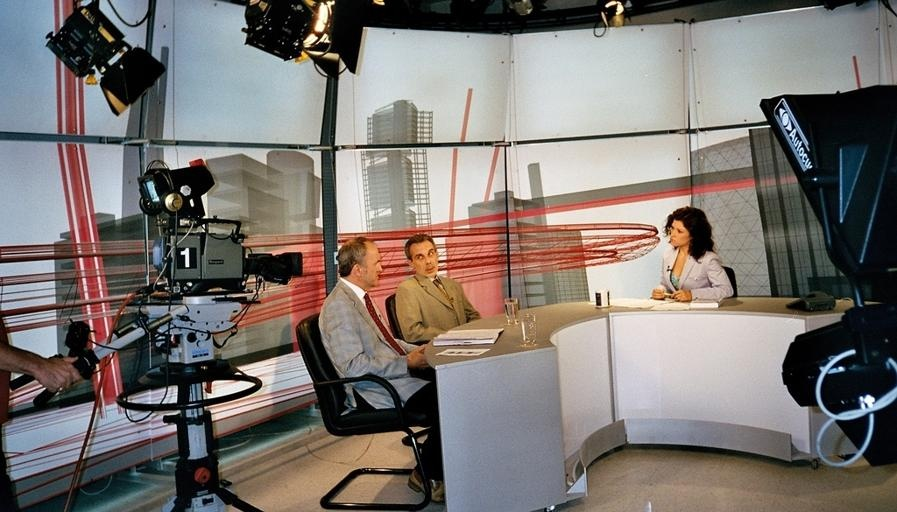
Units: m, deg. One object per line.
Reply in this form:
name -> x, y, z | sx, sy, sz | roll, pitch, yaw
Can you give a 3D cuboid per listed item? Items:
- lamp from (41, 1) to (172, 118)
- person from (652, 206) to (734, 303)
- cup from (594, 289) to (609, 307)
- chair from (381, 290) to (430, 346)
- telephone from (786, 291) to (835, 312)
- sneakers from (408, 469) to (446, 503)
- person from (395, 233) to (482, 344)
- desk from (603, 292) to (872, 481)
lamp -> -2.669, -1.486, 5.045 | 0.449, 0.574, 1.001 | 28, -13, 45
person -> 2.159, -0.022, 5.582 | 0.631, 0.795, 0.747 | -4, 5, 30
cup -> 1.344, 0.379, 5.525 | 0.149, 0.158, 0.116 | 1, -4, -10
chair -> -0.326, 0.556, 5.592 | 0.442, 0.510, 0.371 | -2, -2, 2
telephone -> 2.863, 0.357, 4.937 | 0.345, 0.123, 0.243 | -4, 5, 27
sneakers -> -0.176, 1.733, 4.832 | 0.154, 0.150, 0.374 | 5, 4, -30
person -> -0.066, 0.314, 5.713 | 0.877, 0.985, 0.748 | -5, -3, -43
desk -> 2.323, 0.743, 5.498 | 1.909, 1.182, 1.275 | 0, 5, 26
